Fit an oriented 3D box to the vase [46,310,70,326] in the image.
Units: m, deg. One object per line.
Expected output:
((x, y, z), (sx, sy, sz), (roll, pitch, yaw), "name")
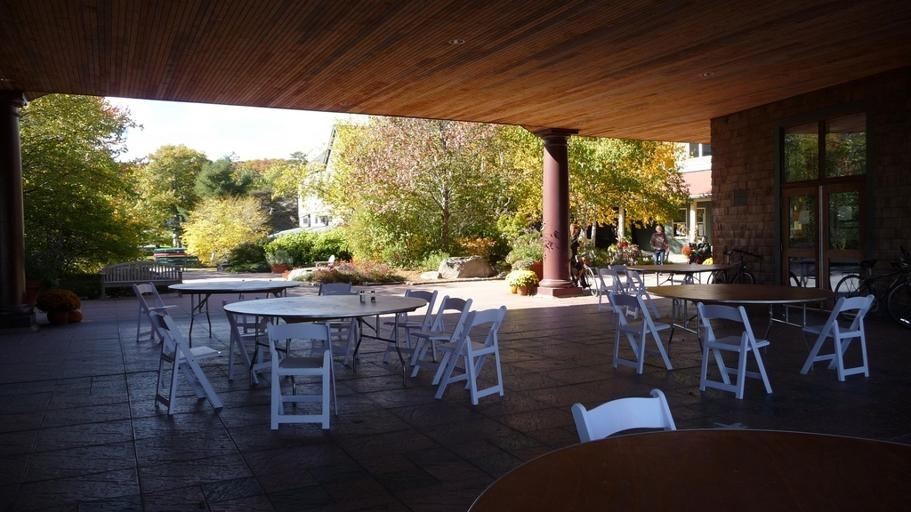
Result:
((-7.908, 1.236, 11.415), (0.338, 0.215, 0.325), (-1, -8, 9), "vase")

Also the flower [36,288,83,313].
((-7.888, 0.899, 11.477), (0.616, 0.309, 0.619), (3, -3, -1), "flower")

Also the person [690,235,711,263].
((8.714, -0.162, 20.026), (0.854, 0.829, 1.663), (0, -3, 12), "person")

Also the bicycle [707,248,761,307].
((6.137, 0.384, 12.665), (1.041, 0.946, 1.628), (4, 3, -5), "bicycle")

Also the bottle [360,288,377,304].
((-1.212, 0.574, 8.048), (0.296, 0.178, 0.186), (1, -3, -21), "bottle")
